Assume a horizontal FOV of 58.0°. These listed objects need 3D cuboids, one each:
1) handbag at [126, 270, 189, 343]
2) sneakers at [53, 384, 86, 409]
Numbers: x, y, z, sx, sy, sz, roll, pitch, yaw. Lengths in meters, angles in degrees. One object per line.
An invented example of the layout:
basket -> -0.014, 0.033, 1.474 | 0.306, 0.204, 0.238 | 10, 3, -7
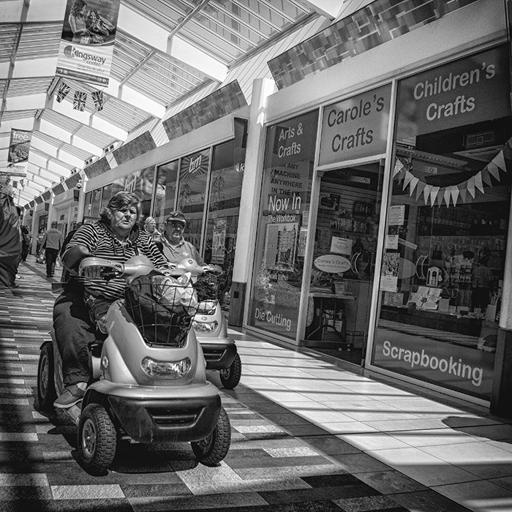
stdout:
handbag -> -0.490, 0.286, 2.304 | 0.283, 0.368, 0.164 | 3, -20, -35
sneakers -> -1.053, 0.791, 2.637 | 0.153, 0.128, 0.189 | 8, -4, -18
